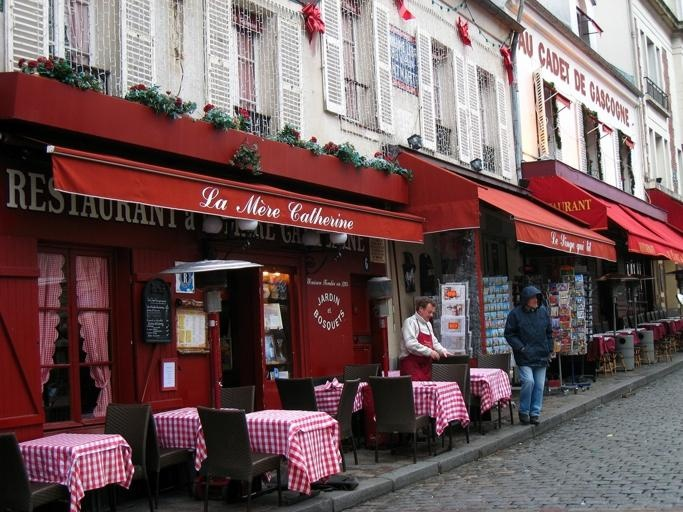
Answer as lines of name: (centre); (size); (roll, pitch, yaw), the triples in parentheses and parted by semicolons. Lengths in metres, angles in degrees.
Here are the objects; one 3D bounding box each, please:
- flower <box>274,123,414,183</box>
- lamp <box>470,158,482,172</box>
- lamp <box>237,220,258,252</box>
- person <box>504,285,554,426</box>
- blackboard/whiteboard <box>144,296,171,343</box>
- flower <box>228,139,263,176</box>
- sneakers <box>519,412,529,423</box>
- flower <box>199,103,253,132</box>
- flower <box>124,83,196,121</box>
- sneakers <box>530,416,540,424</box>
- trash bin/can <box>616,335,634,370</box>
flower: (-0.032, -1.695, 11.921); (2.384, 0.416, 0.484); (22, -2, -32)
lamp: (2.961, -1.969, 15.675); (0.251, 0.353, 0.335); (-6, -8, 25)
lamp: (-1.362, -0.292, 10.321); (0.330, 0.628, 0.402); (0, -3, 0)
person: (3.011, 1.561, 11.425); (0.736, 2.154, 0.355); (-1, -6, -10)
blackboard/whiteboard: (-2.371, 0.813, 9.117); (0.080, 0.725, 0.477); (-7, -10, 32)
flower: (-1.317, -1.396, 10.059); (0.292, 0.439, 0.580); (-4, -7, 19)
sneakers: (2.870, 2.527, 11.241); (0.153, 0.176, 0.111); (-3, -6, 11)
flower: (-1.646, -1.864, 9.892); (0.423, 0.255, 0.397); (-2, 2, -39)
flower: (-2.283, -1.924, 9.004); (0.238, 0.393, 0.961); (-7, -8, 41)
sneakers: (3.022, 2.553, 11.192); (0.122, 0.099, 0.080); (-3, 2, -11)
trash bin/can: (7.061, 2.394, 17.841); (0.498, 0.870, 0.306); (-2, -6, 6)
